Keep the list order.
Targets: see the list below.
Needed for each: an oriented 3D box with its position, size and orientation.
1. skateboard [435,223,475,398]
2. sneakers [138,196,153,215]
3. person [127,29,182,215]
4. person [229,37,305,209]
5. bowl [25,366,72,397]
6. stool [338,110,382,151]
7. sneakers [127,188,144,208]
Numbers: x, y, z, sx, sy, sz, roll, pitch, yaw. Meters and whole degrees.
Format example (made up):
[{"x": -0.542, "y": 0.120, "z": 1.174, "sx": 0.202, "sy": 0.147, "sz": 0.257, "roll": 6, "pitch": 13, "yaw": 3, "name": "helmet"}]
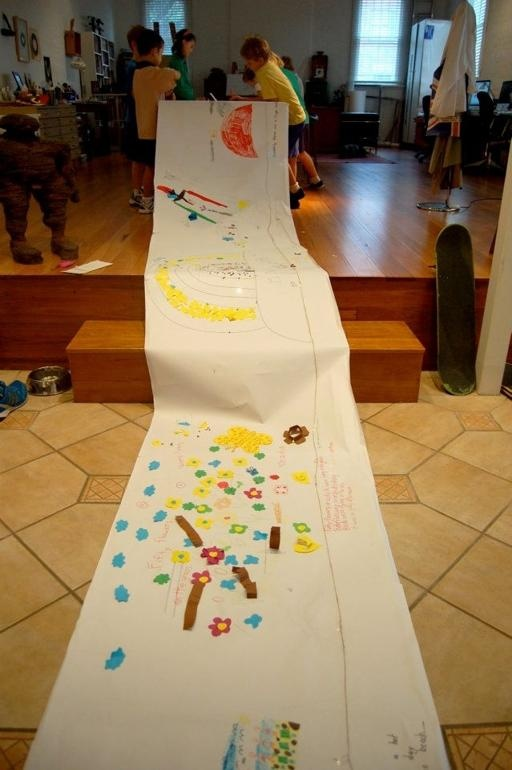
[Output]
[{"x": 0.862, "y": -0.321, "z": 2.369, "sx": 0.178, "sy": 0.767, "sz": 0.127, "roll": 0, "pitch": -2, "yaw": 0, "name": "skateboard"}, {"x": -0.733, "y": -1.215, "z": 3.661, "sx": 0.065, "sy": 0.077, "sz": 0.180, "roll": 2, "pitch": 29, "yaw": -3, "name": "sneakers"}, {"x": -0.626, "y": -1.591, "z": 3.341, "sx": 0.294, "sy": 1.053, "sz": 0.768, "roll": -3, "pitch": 24, "yaw": -11, "name": "person"}, {"x": 0.121, "y": -1.761, "z": 3.734, "sx": 0.456, "sy": 1.039, "sz": 0.979, "roll": 4, "pitch": 23, "yaw": 4, "name": "person"}, {"x": -0.872, "y": -0.019, "z": 2.286, "sx": 0.168, "sy": 0.060, "sz": 0.201, "roll": -17, "pitch": 30, "yaw": -38, "name": "bowl"}, {"x": 1.516, "y": -3.899, "z": 8.451, "sx": 0.415, "sy": 0.586, "sz": 0.712, "roll": -19, "pitch": 31, "yaw": -40, "name": "stool"}, {"x": -0.830, "y": -1.298, "z": 3.811, "sx": 0.089, "sy": 0.122, "sz": 0.267, "roll": 3, "pitch": 34, "yaw": -3, "name": "sneakers"}]
